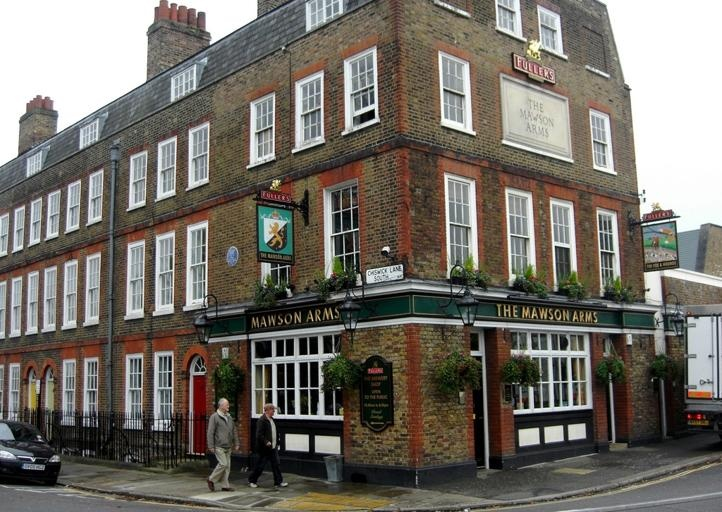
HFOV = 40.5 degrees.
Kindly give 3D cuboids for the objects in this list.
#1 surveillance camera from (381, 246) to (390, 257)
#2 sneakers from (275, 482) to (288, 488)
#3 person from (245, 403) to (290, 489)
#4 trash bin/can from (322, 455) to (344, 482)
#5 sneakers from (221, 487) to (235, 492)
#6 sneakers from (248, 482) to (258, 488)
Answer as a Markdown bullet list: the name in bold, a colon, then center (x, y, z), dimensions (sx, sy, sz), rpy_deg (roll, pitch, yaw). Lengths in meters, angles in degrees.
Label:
- **surveillance camera**: center (0.749, -0.091, 29.992), dimensions (0.259, 0.308, 0.289), rpy_deg (-1, -37, 7)
- **sneakers**: center (-2.387, 6.937, 29.409), dimensions (0.394, 0.174, 0.134), rpy_deg (-8, -2, 6)
- **person**: center (-2.795, 5.765, 29.328), dimensions (0.927, 2.616, 0.886), rpy_deg (-2, 6, -40)
- **trash bin/can**: center (-0.822, 6.588, 30.029), dimensions (0.673, 0.821, 0.778), rpy_deg (5, -12, -24)
- **sneakers**: center (-3.947, 7.000, 29.106), dimensions (0.312, 0.132, 0.150), rpy_deg (-6, -6, 15)
- **sneakers**: center (-3.263, 6.983, 29.581), dimensions (0.111, 0.131, 0.306), rpy_deg (7, -17, -40)
